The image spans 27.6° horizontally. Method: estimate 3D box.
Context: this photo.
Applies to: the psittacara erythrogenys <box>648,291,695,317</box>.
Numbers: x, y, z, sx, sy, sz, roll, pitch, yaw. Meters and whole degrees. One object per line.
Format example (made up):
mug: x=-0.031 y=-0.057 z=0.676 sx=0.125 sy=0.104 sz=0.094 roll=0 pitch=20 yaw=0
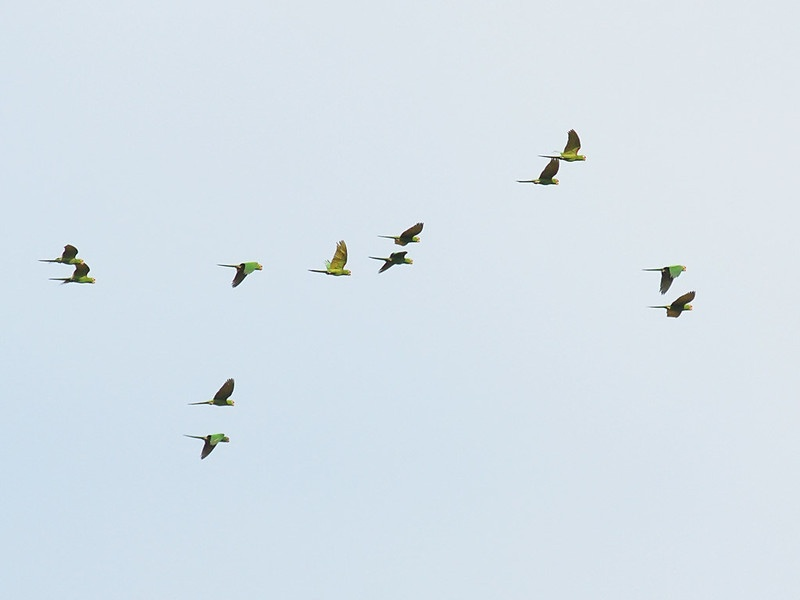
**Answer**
psittacara erythrogenys: x=10.481 y=0.281 z=60.439 sx=0.707 sy=0.222 sz=1.076 roll=13 pitch=-33 yaw=0
